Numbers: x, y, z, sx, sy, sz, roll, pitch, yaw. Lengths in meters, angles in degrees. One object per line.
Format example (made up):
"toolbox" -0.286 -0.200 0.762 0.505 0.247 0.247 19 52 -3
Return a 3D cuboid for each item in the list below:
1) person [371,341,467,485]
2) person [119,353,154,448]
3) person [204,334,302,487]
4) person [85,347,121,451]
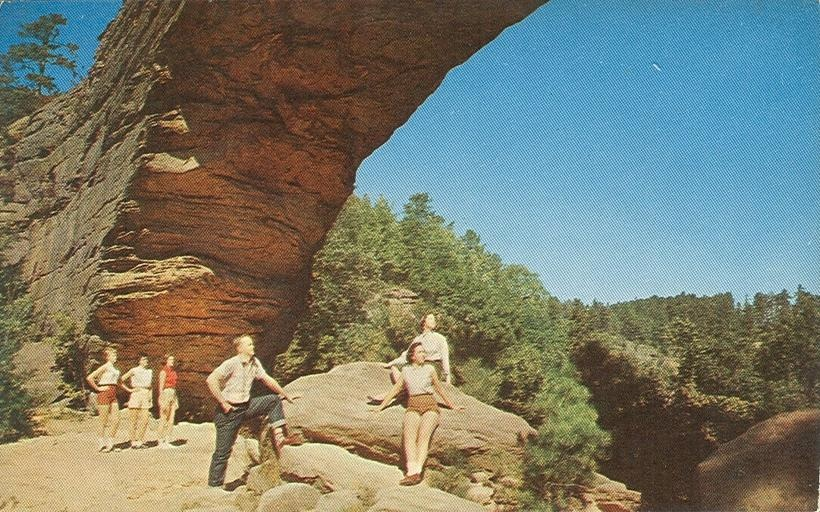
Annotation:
"person" 0.142 3.324 15.437 1.419 2.928 0.419 6 -14 2
"person" -6.014 3.175 15.982 0.714 1.971 0.482 11 -14 -17
"person" -3.503 3.280 15.187 1.620 3.100 0.840 10 -14 -14
"person" -6.644 3.069 15.840 0.799 2.237 0.643 9 -14 -12
